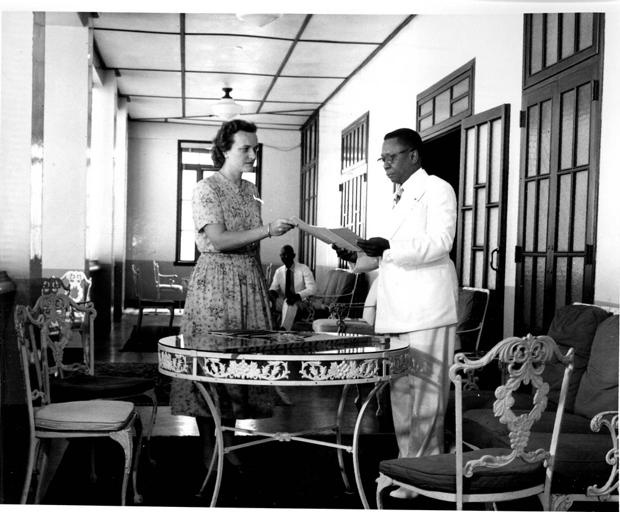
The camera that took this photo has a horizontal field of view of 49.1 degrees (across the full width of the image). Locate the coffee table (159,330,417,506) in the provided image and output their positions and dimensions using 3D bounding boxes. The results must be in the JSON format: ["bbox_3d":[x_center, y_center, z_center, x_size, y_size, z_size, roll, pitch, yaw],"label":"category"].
[{"bbox_3d":[-0.137,0.478,2.935,0.898,0.621,0.935,-4,-5,41],"label":"coffee table"}]

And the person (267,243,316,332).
[{"bbox_3d":[-0.254,0.383,7.412,0.582,0.963,0.761,-3,-9,2],"label":"person"}]

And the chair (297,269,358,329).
[{"bbox_3d":[0.174,0.464,7.749,0.599,0.737,0.561,2,-5,-18],"label":"chair"}]

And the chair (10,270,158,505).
[{"bbox_3d":[-1.204,0.709,3.606,0.588,1.022,1.365,0,4,-15],"label":"chair"}]
